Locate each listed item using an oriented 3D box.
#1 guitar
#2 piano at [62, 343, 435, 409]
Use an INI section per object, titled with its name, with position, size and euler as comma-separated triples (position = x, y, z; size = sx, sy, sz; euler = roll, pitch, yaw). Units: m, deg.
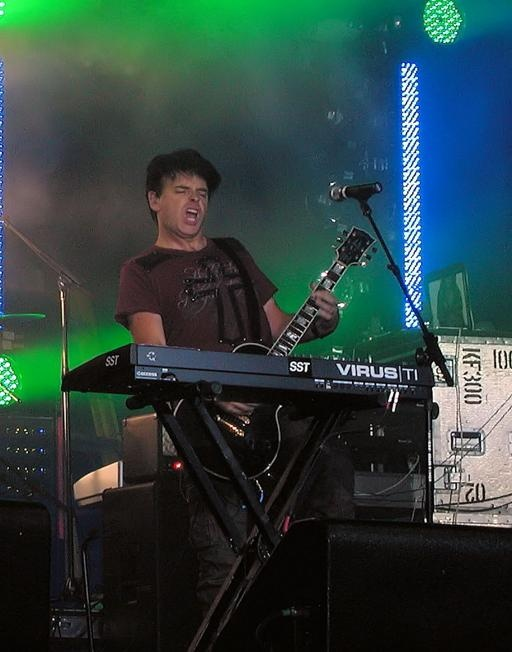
[guitar]
position = 0.085, 0.064, 2.528
size = 0.138, 1.015, 0.406
euler = -19, -60, 38
[piano]
position = -0.001, 0.130, 1.854
size = 0.840, 0.166, 0.352
euler = 0, -4, -27
